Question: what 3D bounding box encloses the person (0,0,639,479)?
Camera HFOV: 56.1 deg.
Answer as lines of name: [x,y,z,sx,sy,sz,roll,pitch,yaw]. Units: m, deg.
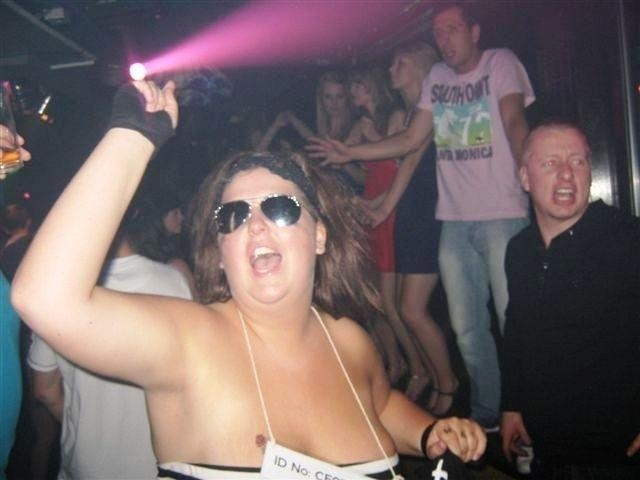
person: [-0.411,0.185,2.598,1.620,1.510,0.374,3,-4,-24]
